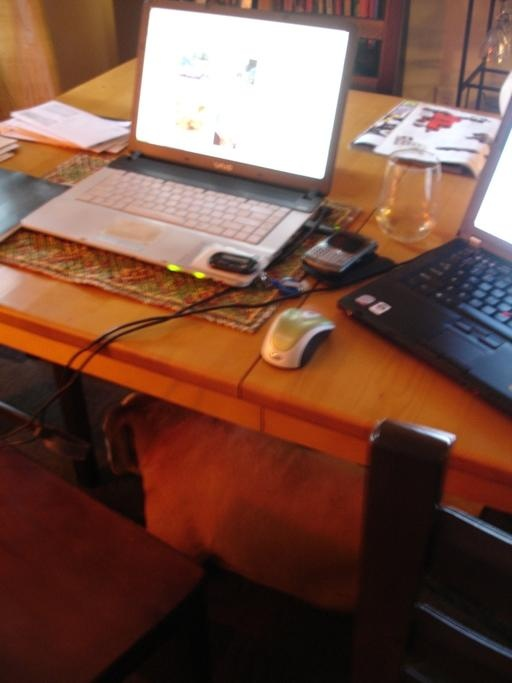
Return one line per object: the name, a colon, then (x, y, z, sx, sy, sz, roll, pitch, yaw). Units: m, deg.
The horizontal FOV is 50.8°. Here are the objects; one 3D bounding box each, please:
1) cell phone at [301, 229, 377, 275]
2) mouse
cell phone: (0.119, -0.133, 0.789, 0.062, 0.021, 0.095, 24, 45, 33)
mouse: (0.050, -0.015, 0.659, 0.068, 0.039, 0.108, 23, 44, 30)
